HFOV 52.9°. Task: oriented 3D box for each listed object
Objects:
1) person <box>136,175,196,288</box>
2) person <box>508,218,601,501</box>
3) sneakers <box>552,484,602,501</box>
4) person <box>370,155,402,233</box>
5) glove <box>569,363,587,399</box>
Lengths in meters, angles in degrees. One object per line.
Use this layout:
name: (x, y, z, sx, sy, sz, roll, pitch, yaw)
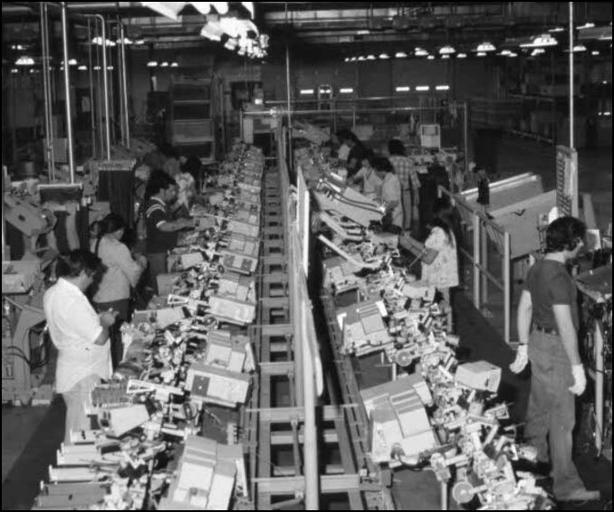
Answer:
person: (-1.822, -0.305, 7.946, 0.521, 1.798, 0.738, -9, 40, -21)
person: (1.646, 0.661, 4.096, 0.377, 1.850, 0.501, -4, 5, -35)
sneakers: (1.782, 1.556, 4.046, 0.328, 0.075, 0.082, -2, 5, -7)
person: (1.223, -0.968, 9.313, 0.441, 1.091, 1.180, 0, 5, 9)
glove: (1.705, 0.779, 3.880, 0.082, 0.174, 0.214, 1, 27, 13)
